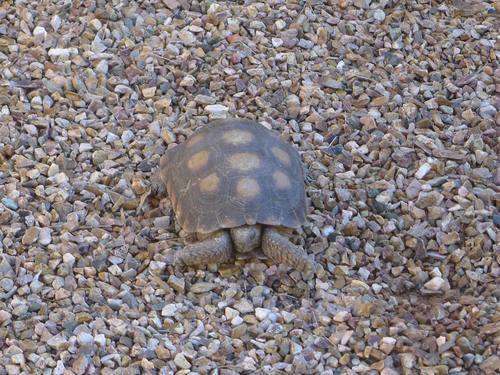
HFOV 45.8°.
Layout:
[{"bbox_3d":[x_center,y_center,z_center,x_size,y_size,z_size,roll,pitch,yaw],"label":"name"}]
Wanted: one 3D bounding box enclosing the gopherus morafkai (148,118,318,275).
[{"bbox_3d":[-0.069,0.039,4.393,0.910,0.453,1.232,-5,52,-9],"label":"gopherus morafkai"}]
